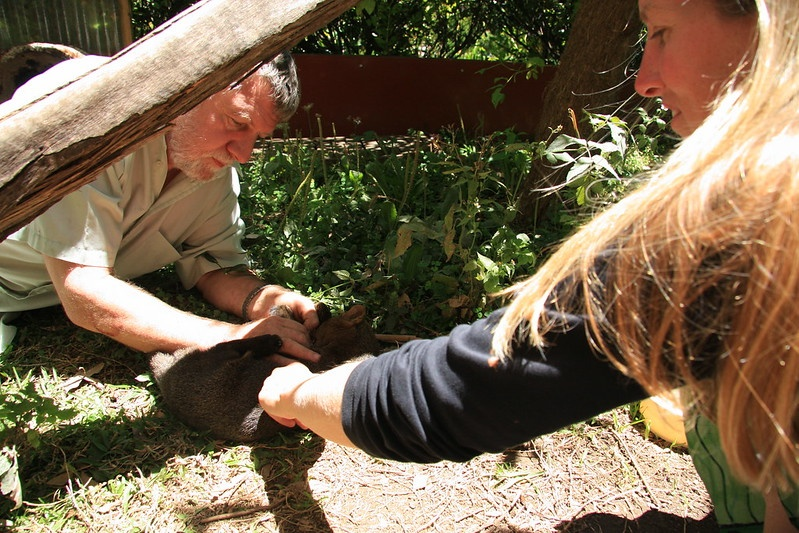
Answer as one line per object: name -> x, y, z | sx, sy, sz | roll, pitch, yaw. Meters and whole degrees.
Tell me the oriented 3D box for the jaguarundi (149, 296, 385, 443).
jaguarundi -> -0.533, 0.653, 2.899 | 1.286, 0.475, 0.690 | -10, 52, -10
